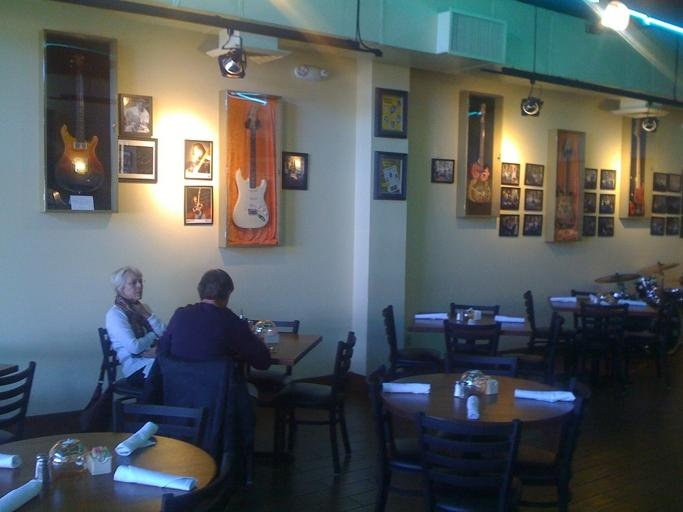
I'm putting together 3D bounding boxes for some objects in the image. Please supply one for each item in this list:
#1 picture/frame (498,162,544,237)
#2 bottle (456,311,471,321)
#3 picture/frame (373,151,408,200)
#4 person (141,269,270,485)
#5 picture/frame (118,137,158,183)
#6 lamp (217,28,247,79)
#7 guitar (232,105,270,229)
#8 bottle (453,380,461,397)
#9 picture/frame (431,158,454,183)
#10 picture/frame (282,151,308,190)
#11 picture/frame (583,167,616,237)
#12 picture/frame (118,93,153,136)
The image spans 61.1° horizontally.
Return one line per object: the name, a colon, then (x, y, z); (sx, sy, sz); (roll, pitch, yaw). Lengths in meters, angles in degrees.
picture/frame: (2.582, -0.832, 8.392); (1.093, 1.505, 0.028); (1, 0, -32)
bottle: (1.339, 0.653, 6.340); (0.091, 0.119, 0.170); (-2, -1, 43)
picture/frame: (0.566, -0.976, 6.911); (0.598, 0.630, 0.077); (1, -1, -40)
person: (-0.922, 0.873, 4.431); (0.745, 1.501, 0.872); (8, 9, 32)
picture/frame: (-2.033, -0.954, 5.890); (0.416, 0.412, 0.239); (2, 0, 5)
lamp: (-1.040, -1.940, 5.515); (0.261, 0.437, 0.255); (-1, 5, -1)
guitar: (-1.001, -0.945, 6.290); (0.416, 1.307, 0.098); (-5, 6, -39)
bottle: (0.814, 0.919, 4.010); (0.059, 0.083, 0.133); (0, 5, 11)
picture/frame: (1.328, -1.139, 7.658); (0.330, 0.288, 0.024); (-3, 3, -33)
picture/frame: (-0.543, -0.989, 6.621); (0.444, 0.565, 0.031); (-1, 0, -36)
picture/frame: (4.105, -0.879, 9.257); (1.119, 1.547, 0.026); (0, 0, -38)
picture/frame: (-2.056, -1.408, 5.731); (0.429, 0.492, 0.079); (-4, 6, -34)
